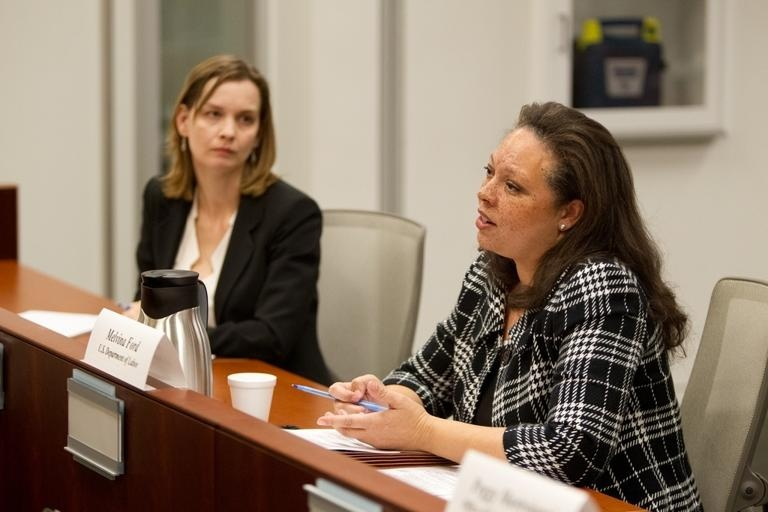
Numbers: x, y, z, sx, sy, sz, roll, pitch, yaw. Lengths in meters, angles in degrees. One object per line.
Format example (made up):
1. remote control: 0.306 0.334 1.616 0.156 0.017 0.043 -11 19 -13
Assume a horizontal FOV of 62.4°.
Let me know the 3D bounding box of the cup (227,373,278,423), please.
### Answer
1. cup: -0.296 0.307 1.421 0.104 0.103 0.111 0 -1 0

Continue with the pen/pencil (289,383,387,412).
1. pen/pencil: -0.108 0.339 1.501 0.204 0.023 0.023 16 -12 -1
